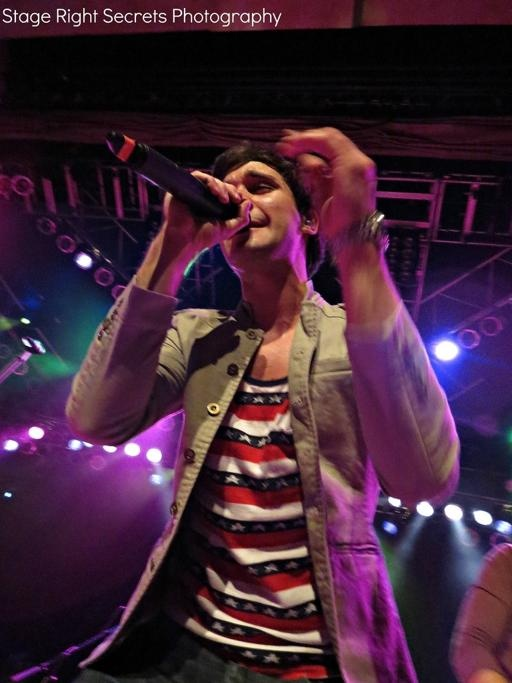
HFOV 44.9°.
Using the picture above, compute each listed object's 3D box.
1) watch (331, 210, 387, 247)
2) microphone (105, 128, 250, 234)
[{"bbox_3d":[0.251,-0.274,1.504,0.111,0.079,0.044,-27,70,-10],"label":"watch"},{"bbox_3d":[-0.203,-0.420,1.623,0.123,0.198,0.372,20,20,34],"label":"microphone"}]
